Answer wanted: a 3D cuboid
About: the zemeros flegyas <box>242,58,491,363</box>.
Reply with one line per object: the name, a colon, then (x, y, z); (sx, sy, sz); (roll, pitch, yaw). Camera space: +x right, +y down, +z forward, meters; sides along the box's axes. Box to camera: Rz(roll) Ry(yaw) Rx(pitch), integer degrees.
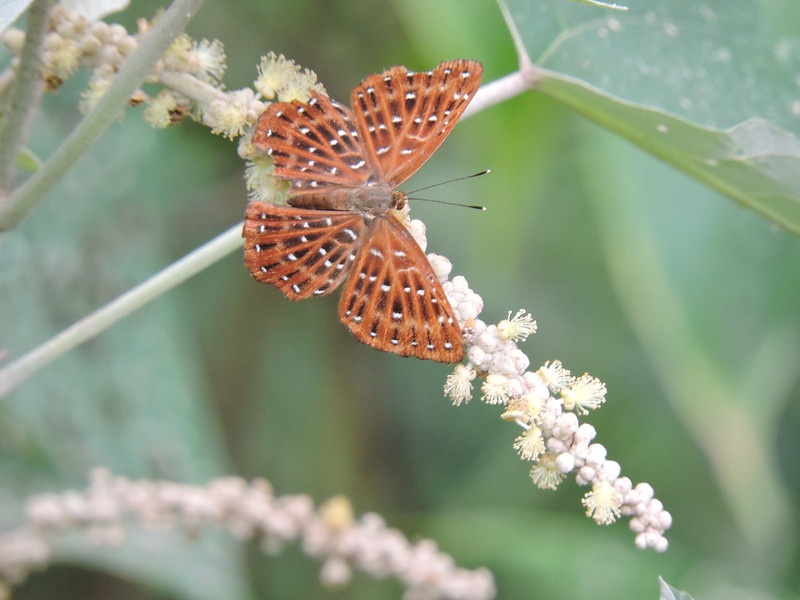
zemeros flegyas: (-0.064, -0.148, 1.166); (0.335, 0.267, 0.422); (4, -69, -6)
